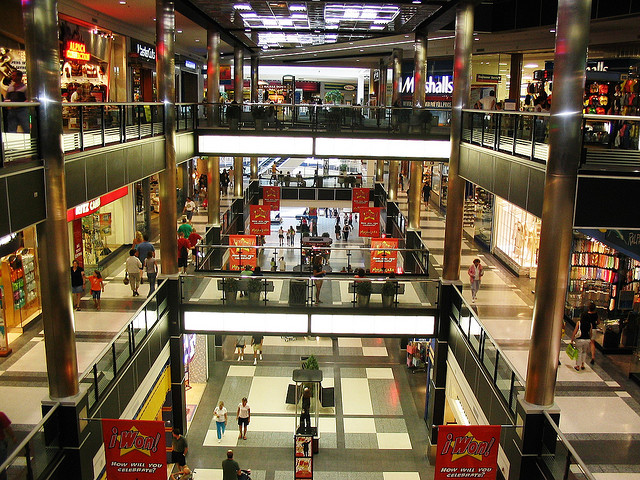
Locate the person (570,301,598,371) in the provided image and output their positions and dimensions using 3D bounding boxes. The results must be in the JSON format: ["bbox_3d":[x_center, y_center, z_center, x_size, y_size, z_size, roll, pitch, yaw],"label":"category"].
[{"bbox_3d":[7.178,2.562,13.603,0.495,1.943,1.382,10,16,33],"label":"person"}]

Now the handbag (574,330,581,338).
[{"bbox_3d":[6.884,2.527,13.421,0.061,0.185,0.120,19,-6,-38],"label":"handbag"}]

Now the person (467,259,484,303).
[{"bbox_3d":[5.440,1.286,17.630,0.395,1.561,1.368,6,15,19],"label":"person"}]

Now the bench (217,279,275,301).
[{"bbox_3d":[-2.480,1.714,16.059,1.749,0.735,0.924,0,10,2],"label":"bench"}]

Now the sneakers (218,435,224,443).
[{"bbox_3d":[-3.477,6.917,17.514,0.206,0.146,0.379,1,15,-1],"label":"sneakers"}]

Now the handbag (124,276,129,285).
[{"bbox_3d":[-6.394,1.346,16.595,0.148,0.181,0.436,-1,9,-8],"label":"handbag"}]
